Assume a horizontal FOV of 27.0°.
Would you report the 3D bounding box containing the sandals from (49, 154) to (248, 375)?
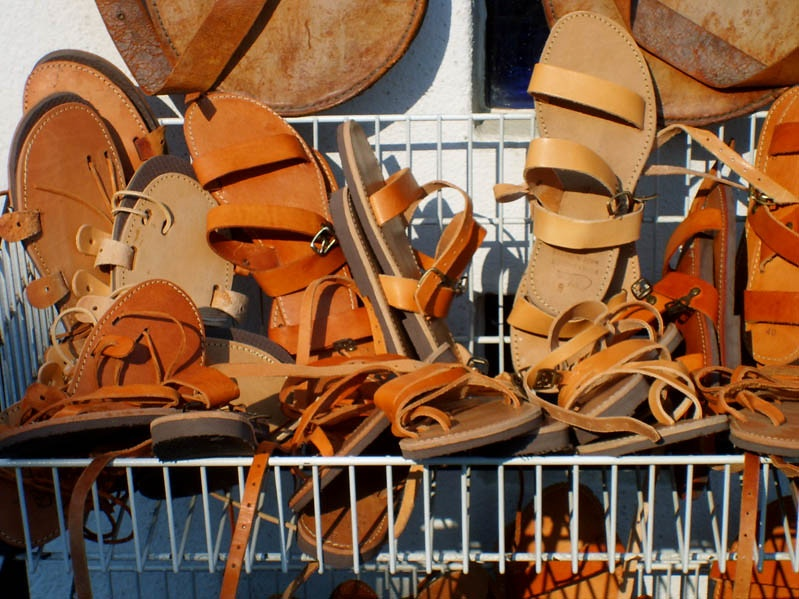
[{"bbox_3d":[-0.476,-0.122,3.310,0.262,0.508,0.122,19,1,-19],"label":"sandals"}]
